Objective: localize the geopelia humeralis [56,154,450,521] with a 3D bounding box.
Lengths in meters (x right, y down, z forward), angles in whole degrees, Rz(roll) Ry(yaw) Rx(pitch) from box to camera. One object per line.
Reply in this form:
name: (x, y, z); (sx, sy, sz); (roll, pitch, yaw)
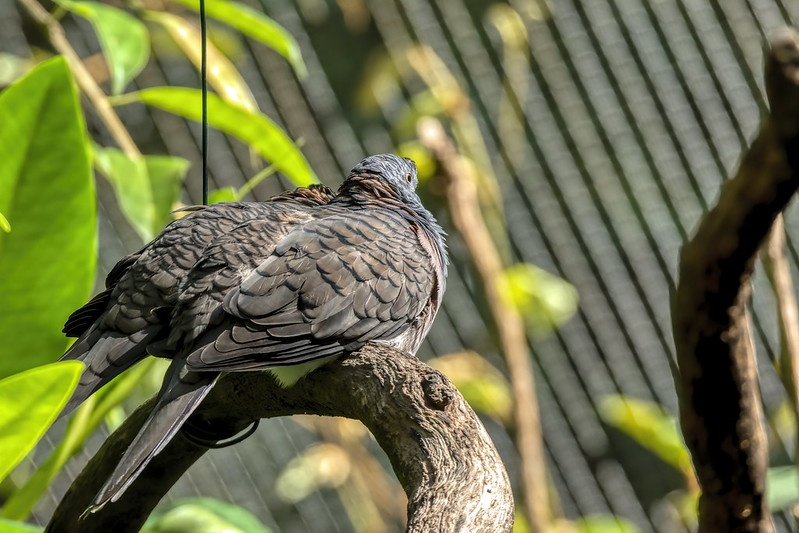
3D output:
geopelia humeralis: (-0.484, 0.144, 5.899); (1.738, 0.801, 0.768); (9, -11, -40)
